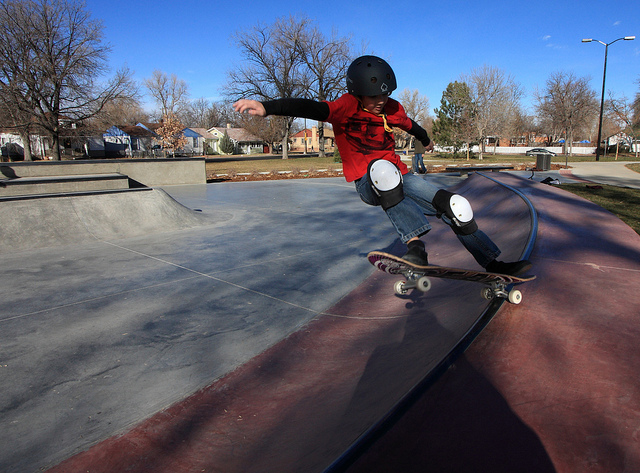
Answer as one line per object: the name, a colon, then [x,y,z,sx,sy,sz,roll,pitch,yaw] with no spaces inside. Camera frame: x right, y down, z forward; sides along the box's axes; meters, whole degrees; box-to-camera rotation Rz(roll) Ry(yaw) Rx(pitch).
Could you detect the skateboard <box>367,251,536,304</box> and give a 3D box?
skateboard: [0.985,0.243,2.707,1.254,0.201,0.435,6,-14,6]
